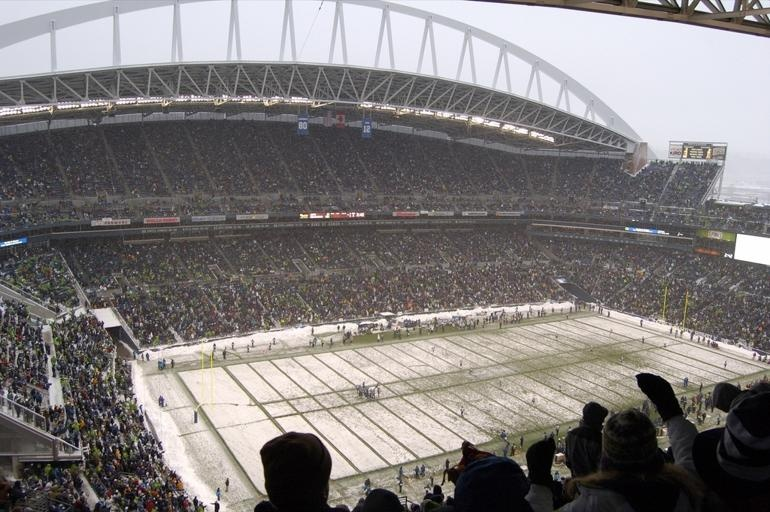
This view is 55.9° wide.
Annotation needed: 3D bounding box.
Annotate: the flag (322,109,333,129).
[{"bbox_3d":[-7.593,-17.791,94.126,1.501,2.561,1.418,3,4,10],"label":"flag"}]
